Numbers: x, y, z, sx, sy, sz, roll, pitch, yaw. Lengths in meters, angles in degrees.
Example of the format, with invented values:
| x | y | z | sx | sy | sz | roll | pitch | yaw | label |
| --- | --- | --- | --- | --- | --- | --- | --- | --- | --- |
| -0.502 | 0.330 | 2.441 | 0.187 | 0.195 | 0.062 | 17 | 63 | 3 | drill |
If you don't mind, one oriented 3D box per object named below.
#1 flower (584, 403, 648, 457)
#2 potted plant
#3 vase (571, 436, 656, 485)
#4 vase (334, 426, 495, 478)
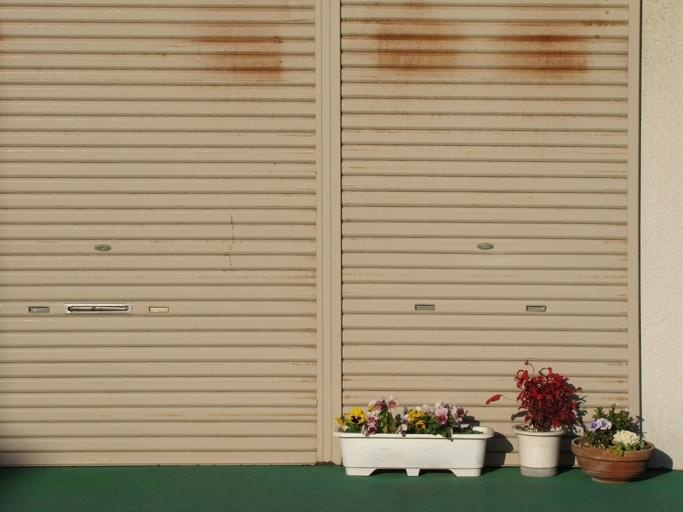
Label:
| x | y | z | sx | sy | sz | roll | pitch | yaw | label |
| --- | --- | --- | --- | --- | --- | --- | --- | --- | --- |
| 2.706 | 1.735 | 11.325 | 0.668 | 0.402 | 0.326 | -8 | 12 | -7 | flower |
| 1.959 | 1.629 | 11.465 | 0.958 | 1.157 | 0.425 | -3 | -5 | 6 | potted plant |
| 2.709 | 2.027 | 11.351 | 0.865 | 0.244 | 0.686 | 0 | 6 | -8 | vase |
| 0.730 | 1.961 | 11.293 | 1.563 | 0.479 | 0.220 | -2 | -5 | -1 | vase |
